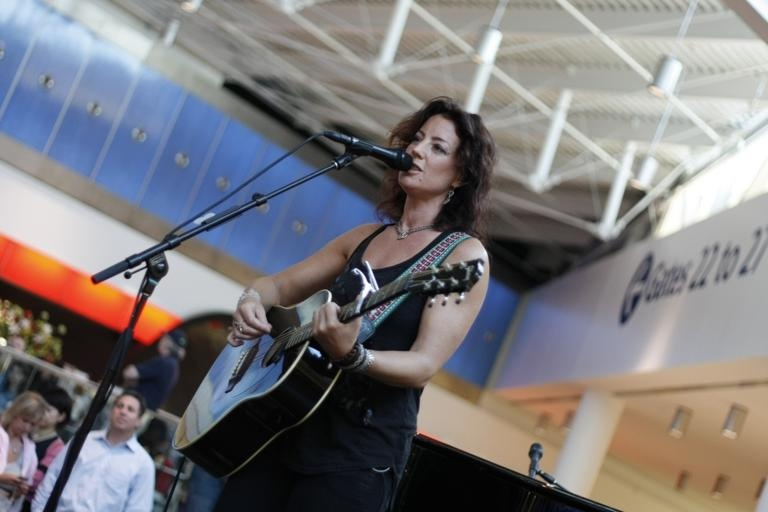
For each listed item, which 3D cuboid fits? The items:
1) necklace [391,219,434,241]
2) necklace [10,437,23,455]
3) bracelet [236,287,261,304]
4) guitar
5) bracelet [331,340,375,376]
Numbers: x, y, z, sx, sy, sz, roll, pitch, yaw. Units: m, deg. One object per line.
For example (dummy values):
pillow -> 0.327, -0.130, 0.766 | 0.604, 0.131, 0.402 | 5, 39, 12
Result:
necklace -> 0.135, -0.125, 3.349 | 0.145, 0.094, 0.026 | -18, -22, 41
necklace -> -3.121, 1.623, 5.708 | 0.086, 0.127, 0.030 | 3, -25, -15
bracelet -> -0.700, 0.201, 3.537 | 0.081, 0.099, 0.094 | 7, -18, -15
guitar -> -0.297, 0.463, 3.230 | 1.877, 0.868, 0.289 | -28, -67, 36
bracelet -> -0.139, 0.458, 2.982 | 0.136, 0.062, 0.136 | 12, -40, 44
